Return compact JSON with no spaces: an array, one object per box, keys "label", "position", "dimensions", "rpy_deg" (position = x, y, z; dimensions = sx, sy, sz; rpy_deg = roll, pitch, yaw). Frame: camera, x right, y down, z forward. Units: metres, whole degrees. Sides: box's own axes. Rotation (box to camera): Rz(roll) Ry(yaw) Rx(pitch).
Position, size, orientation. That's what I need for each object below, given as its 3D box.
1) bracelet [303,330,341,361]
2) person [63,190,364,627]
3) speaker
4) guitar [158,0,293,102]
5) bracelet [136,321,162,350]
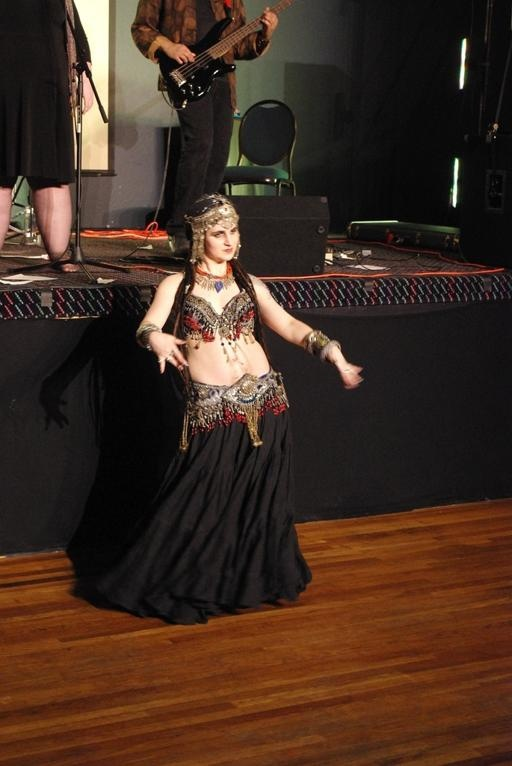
[{"label":"bracelet","position":[0.184,-0.104,1.777],"dimensions":[0.075,0.043,0.096],"rpy_deg":[27,-1,-8]},{"label":"person","position":[-0.094,0.053,1.742],"dimensions":[0.617,1.120,0.338],"rpy_deg":[1,-1,-23]},{"label":"speaker","position":[0.040,-0.584,2.487],"dimensions":[0.440,0.302,0.237],"rpy_deg":[-8,33,-18]},{"label":"guitar","position":[-0.238,-1.655,3.264],"dimensions":[0.516,0.563,0.228],"rpy_deg":[1,0,-8]},{"label":"bracelet","position":[-0.271,-0.122,1.585],"dimensions":[0.063,0.064,0.026],"rpy_deg":[6,43,-21]}]
